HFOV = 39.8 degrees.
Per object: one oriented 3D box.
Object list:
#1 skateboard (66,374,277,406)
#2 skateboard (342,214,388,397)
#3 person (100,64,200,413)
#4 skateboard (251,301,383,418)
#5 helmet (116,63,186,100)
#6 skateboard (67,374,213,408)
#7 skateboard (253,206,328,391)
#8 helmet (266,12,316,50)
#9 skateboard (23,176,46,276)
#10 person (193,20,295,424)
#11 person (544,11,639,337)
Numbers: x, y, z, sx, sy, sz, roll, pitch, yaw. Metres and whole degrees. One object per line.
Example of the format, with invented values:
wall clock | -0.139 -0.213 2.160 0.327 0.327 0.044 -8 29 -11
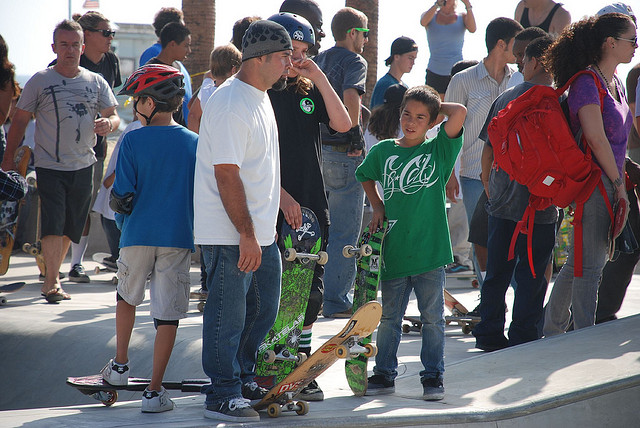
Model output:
skateboard | -1.229 1.525 7.703 1.588 0.241 0.442 3 -1 2
skateboard | 0.399 0.795 7.890 0.370 1.574 0.210 3 4 -36
person | -1.477 0.171 7.728 0.769 2.367 0.561 1 -1 -9
skateboard | -0.051 1.286 7.671 0.183 1.048 0.277 51 5 35
helmet | -1.517 -1.160 7.945 0.623 0.299 0.440 -2 2 -7
skateboard | -1.547 1.562 7.854 1.424 0.215 0.395 5 6 -5
skateboard | -0.256 0.761 7.857 0.463 1.930 0.271 6 3 -38
helmet | -0.290 -1.606 7.932 0.462 0.365 0.348 7 1 9
skateboard | -3.952 0.155 12.229 0.368 1.440 0.216 2 2 43
person | -0.648 0.034 7.390 0.691 2.402 0.516 1 -1 -36
person | 2.623 -0.389 8.653 0.827 3.230 0.604 1 -1 18
